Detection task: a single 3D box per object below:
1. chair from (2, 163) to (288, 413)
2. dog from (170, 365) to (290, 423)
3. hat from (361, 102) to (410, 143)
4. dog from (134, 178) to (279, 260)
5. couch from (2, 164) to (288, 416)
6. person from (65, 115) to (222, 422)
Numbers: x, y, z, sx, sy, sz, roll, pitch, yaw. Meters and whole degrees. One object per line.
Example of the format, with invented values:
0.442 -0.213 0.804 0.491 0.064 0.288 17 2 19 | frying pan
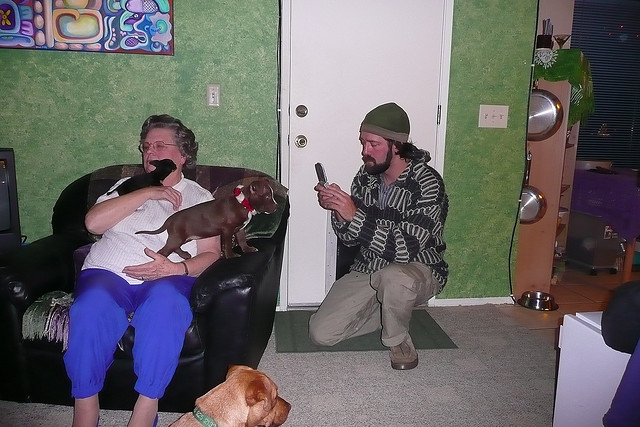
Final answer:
-0.874 0.501 2.909 1.453 1.095 1.360 1 14 10 | chair
-0.355 0.778 2.068 0.556 0.291 0.200 -7 46 -16 | dog
0.436 -0.583 2.993 0.334 0.225 0.236 16 14 -3 | hat
-0.609 0.060 2.531 0.780 0.400 0.261 -7 4 -2 | dog
-0.861 0.489 2.937 1.448 1.096 1.366 1 13 9 | couch
-0.886 0.420 2.399 0.736 1.045 0.637 -3 14 -13 | person
